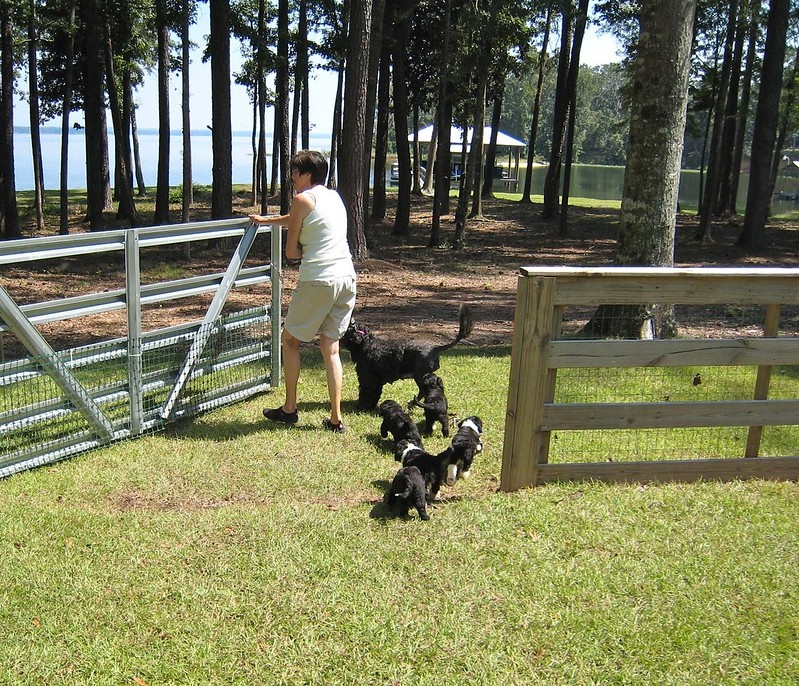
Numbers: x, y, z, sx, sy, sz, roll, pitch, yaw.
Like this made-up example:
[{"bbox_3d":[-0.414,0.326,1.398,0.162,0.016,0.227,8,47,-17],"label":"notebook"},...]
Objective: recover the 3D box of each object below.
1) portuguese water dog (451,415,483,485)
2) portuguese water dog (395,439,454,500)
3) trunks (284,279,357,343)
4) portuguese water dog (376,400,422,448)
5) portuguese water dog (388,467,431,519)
[{"bbox_3d":[0.561,0.844,8.250,0.175,0.281,0.655,7,15,8],"label":"portuguese water dog"},{"bbox_3d":[0.162,1.007,7.845,0.226,0.536,0.732,1,4,-28],"label":"portuguese water dog"},{"bbox_3d":[-0.706,-0.355,8.871,0.648,0.630,0.383,0,24,-39],"label":"trunks"},{"bbox_3d":[-0.025,0.747,8.559,0.214,0.353,0.654,-6,28,-23],"label":"portuguese water dog"},{"bbox_3d":[0.071,1.132,7.441,0.333,0.363,0.315,2,12,-2],"label":"portuguese water dog"}]
